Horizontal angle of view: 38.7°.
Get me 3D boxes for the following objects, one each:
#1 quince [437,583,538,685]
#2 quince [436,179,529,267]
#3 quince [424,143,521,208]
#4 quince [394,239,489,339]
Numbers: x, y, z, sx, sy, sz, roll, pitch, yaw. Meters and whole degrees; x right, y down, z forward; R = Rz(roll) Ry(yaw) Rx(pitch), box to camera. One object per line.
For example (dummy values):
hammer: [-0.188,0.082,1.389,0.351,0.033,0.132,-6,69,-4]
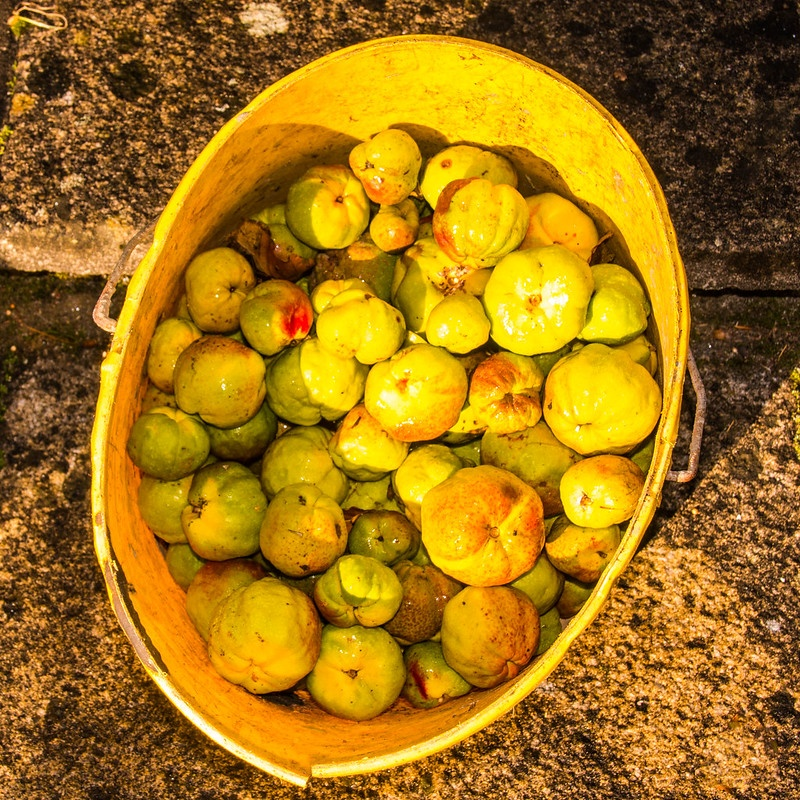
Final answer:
quince: [0.344,0.887,4.478,0.369,0.370,0.336,-22,76,8]
quince: [0.319,-0.674,4.525,0.362,0.265,0.325,14,98,2]
quince: [0.293,-0.947,4.729,0.352,0.187,0.235,-4,93,-5]
quince: [0.135,-0.469,4.620,0.425,0.184,0.295,-11,82,8]
